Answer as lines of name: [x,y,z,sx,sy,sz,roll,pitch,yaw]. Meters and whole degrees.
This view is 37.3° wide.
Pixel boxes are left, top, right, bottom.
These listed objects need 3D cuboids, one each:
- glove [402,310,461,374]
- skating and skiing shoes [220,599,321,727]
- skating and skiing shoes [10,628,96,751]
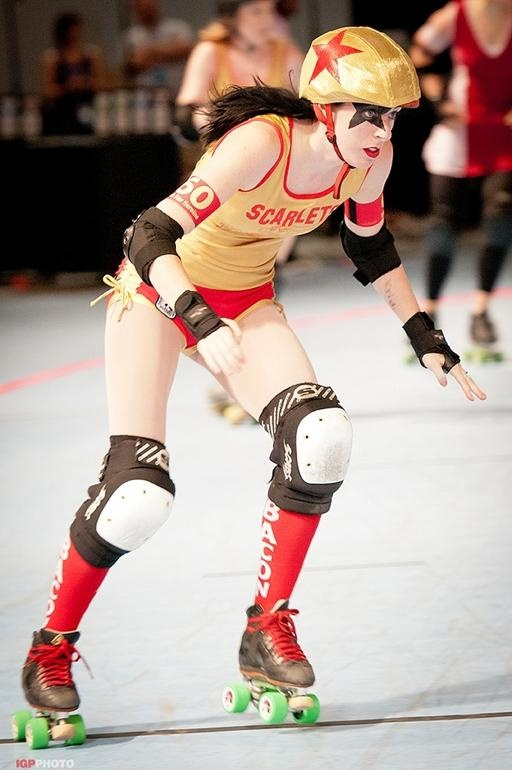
glove: [0.394,-0.098,1.748,0.101,0.063,0.155,-29,76,0]
skating and skiing shoes: [0.034,0.546,1.432,0.104,0.217,0.230,-5,34,-14]
skating and skiing shoes: [-0.378,0.570,1.401,0.139,0.123,0.284,-16,21,-33]
